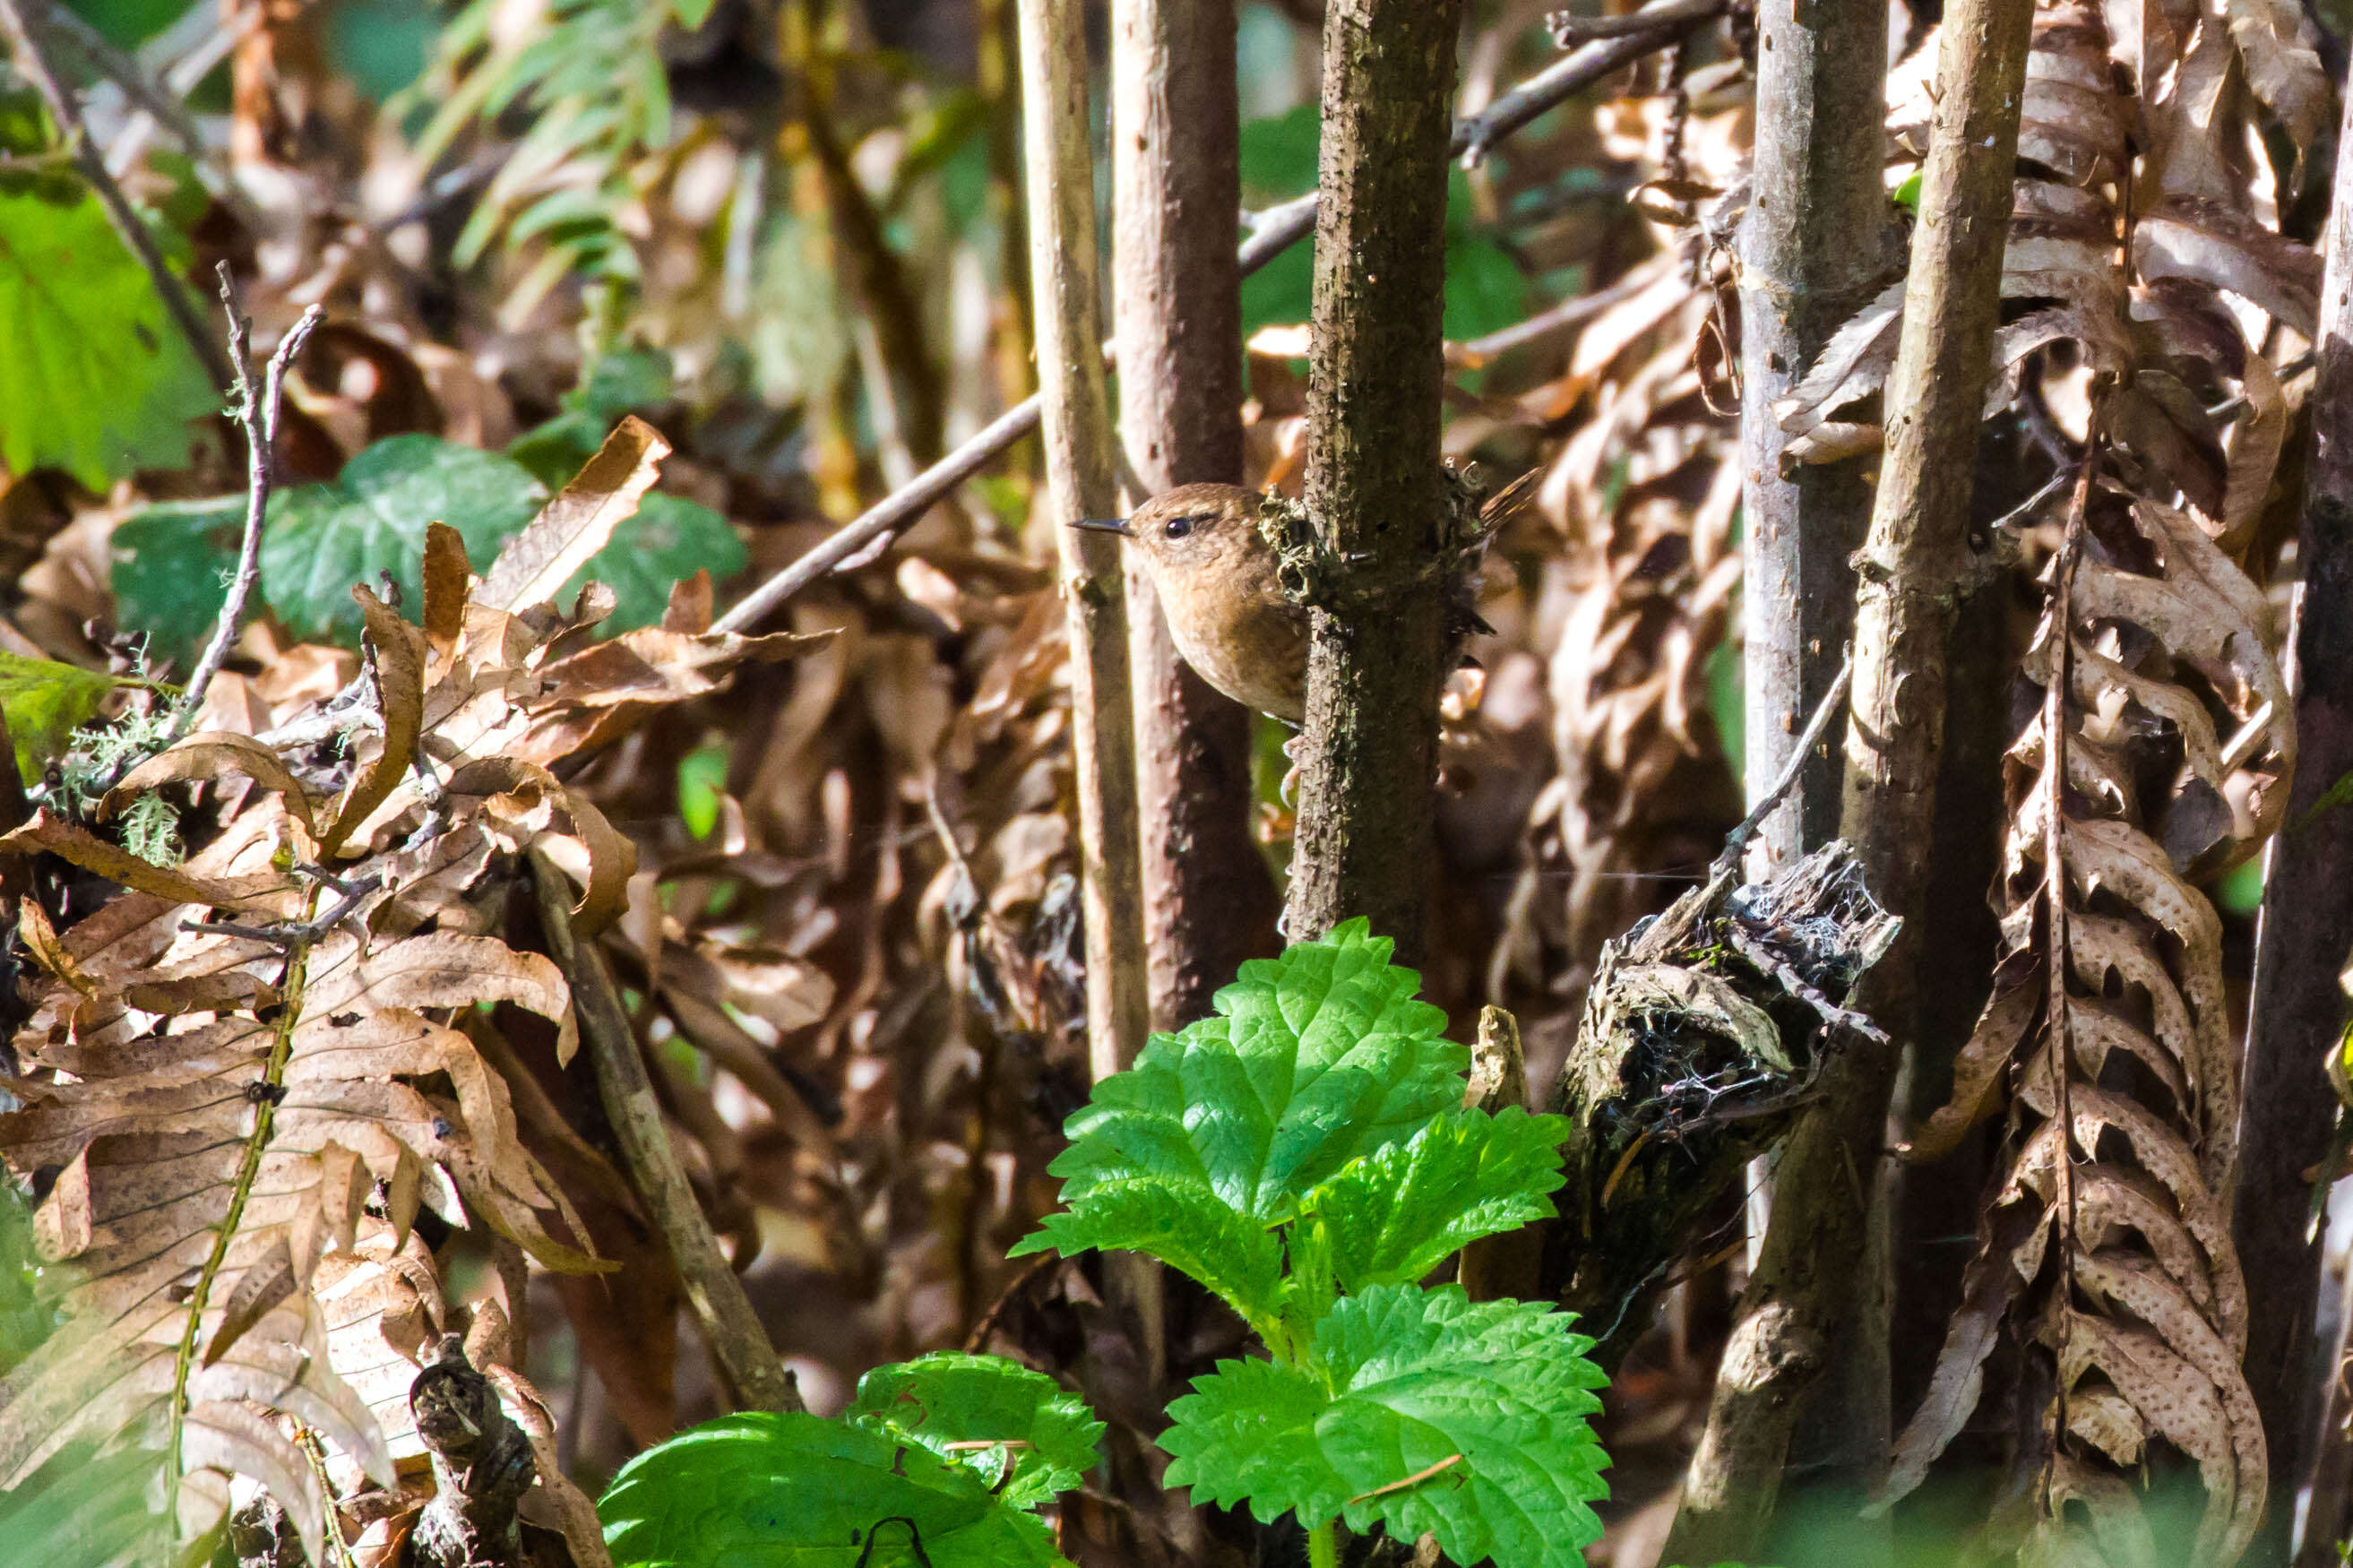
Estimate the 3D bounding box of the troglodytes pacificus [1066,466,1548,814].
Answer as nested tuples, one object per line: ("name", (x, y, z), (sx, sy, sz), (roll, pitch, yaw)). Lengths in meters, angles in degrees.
("troglodytes pacificus", (0.123, -0.145, 2.431), (0.370, 0.262, 0.183), (-13, 3, -10))
